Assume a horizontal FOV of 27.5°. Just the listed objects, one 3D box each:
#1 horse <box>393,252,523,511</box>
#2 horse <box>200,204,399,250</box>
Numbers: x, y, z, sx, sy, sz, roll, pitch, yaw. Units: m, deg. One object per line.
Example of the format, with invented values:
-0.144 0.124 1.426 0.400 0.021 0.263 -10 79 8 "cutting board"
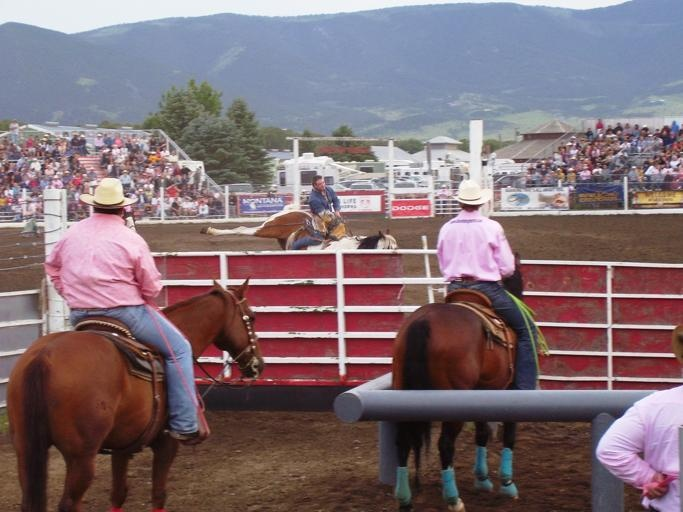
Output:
2.040 2.544 25.072 2.844 3.886 1.117 -4 8 -31 "horse"
-0.658 -0.639 32.193 2.522 1.012 3.345 -2 5 -19 "horse"
